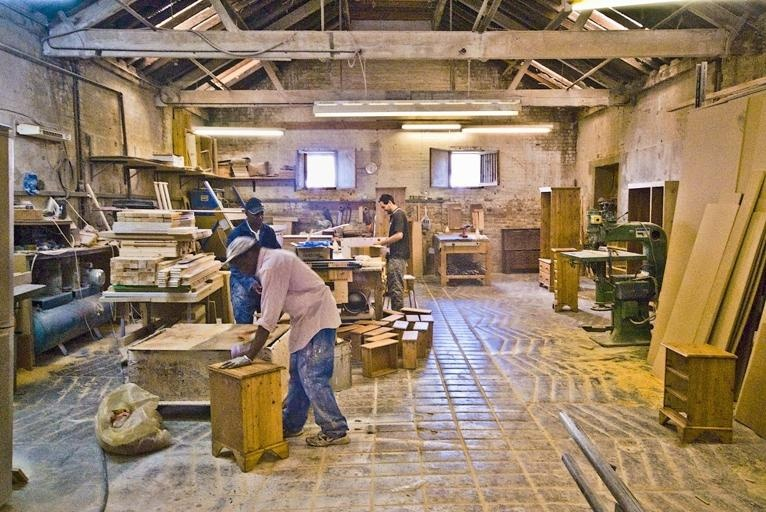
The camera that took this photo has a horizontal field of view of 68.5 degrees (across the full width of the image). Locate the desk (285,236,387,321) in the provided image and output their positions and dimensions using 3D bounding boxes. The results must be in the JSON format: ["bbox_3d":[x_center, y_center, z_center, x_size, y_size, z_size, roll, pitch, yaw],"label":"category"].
[{"bbox_3d":[-0.642,0.321,9.938,2.290,1.092,1.530,-1,1,-1],"label":"desk"}]

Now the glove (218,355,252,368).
[{"bbox_3d":[-1.657,1.184,6.314,0.270,0.090,0.154,-11,18,-24],"label":"glove"}]

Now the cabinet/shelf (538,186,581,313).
[{"bbox_3d":[4.005,-0.297,12.701,0.868,2.506,3.517,1,7,16],"label":"cabinet/shelf"}]

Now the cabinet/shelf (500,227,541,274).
[{"bbox_3d":[4.051,-0.167,16.386,1.440,1.227,0.566,0,7,5],"label":"cabinet/shelf"}]

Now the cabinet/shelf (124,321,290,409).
[{"bbox_3d":[-2.520,1.282,6.972,1.340,0.481,1.271,1,7,8],"label":"cabinet/shelf"}]

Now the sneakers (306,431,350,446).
[{"bbox_3d":[-0.645,2.158,6.702,0.524,0.209,0.184,1,-1,-3],"label":"sneakers"}]

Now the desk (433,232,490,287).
[{"bbox_3d":[2.284,-0.138,15.658,1.472,1.170,2.268,-1,14,8],"label":"desk"}]

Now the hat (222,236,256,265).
[{"bbox_3d":[-1.628,-0.088,6.266,0.344,0.194,0.253,-27,18,6],"label":"hat"}]
